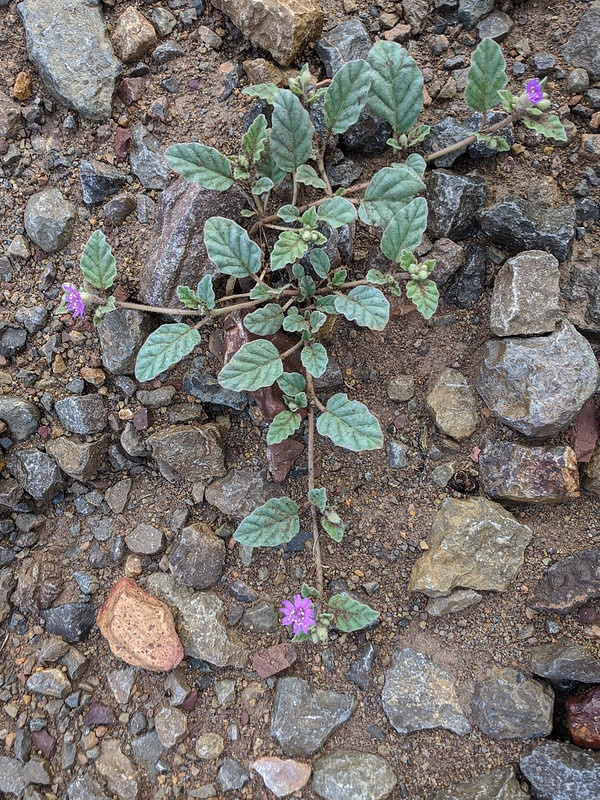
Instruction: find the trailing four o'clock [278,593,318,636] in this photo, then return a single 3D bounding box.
[{"bbox_3d":[-0.003,0.879,2.770,0.128,0.232,0.140,-16,52,9],"label":"trailing four o'clock"}]
